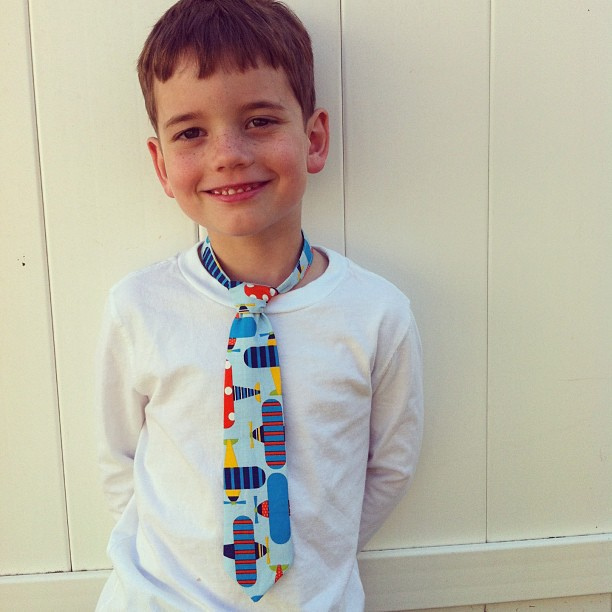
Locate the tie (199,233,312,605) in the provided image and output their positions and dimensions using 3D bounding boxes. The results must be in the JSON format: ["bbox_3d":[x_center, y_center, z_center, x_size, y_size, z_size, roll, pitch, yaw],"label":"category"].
[{"bbox_3d":[-0.090,0.244,1.588,0.116,0.558,0.180,-6,7,17],"label":"tie"}]
